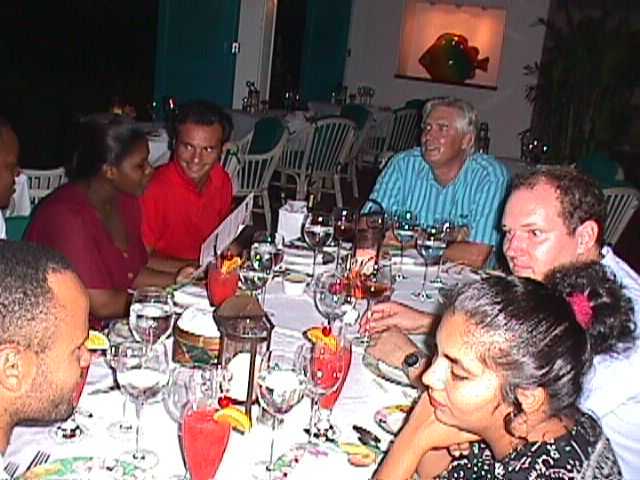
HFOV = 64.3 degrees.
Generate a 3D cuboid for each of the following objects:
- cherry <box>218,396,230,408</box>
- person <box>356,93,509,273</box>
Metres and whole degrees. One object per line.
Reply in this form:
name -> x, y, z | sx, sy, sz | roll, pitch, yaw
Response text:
cherry -> -0.211, 0.357, 1.125 | 0.019, 0.019, 0.020 | 18, 6, 26
person -> 0.699, -0.249, 3.028 | 0.881, 1.094, 0.621 | 16, 15, 34
